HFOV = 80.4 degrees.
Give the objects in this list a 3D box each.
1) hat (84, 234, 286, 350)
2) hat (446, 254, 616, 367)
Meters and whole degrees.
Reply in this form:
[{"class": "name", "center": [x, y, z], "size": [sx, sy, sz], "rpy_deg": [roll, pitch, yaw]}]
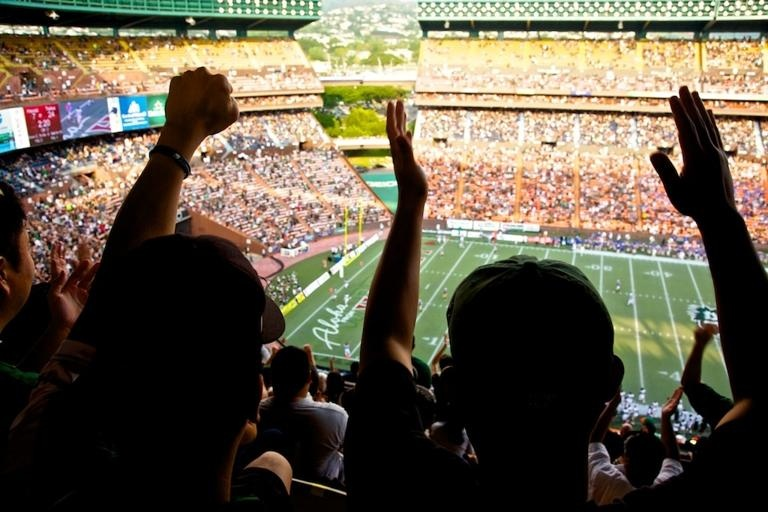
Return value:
[{"class": "hat", "center": [-0.754, 0.114, 1.703], "size": [0.646, 0.342, 0.446], "rpy_deg": [-2, 12, -16]}, {"class": "hat", "center": [0.484, 0.189, 1.479], "size": [0.362, 0.269, 0.476], "rpy_deg": [2, 18, 16]}]
